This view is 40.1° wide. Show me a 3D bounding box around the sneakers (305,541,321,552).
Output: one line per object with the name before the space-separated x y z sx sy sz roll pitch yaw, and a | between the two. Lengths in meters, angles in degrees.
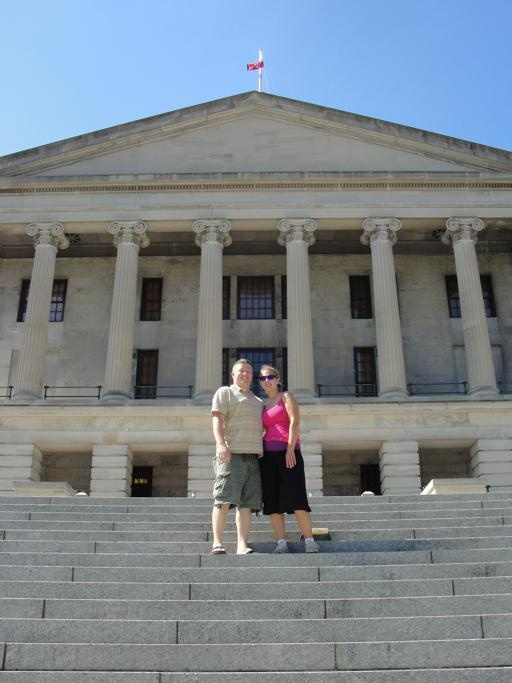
sneakers | 0.601 2.229 7.640 0.127 0.140 0.134 -2 -26 6

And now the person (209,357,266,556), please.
person | -0.216 1.277 8.032 0.746 2.312 0.561 12 -30 -20

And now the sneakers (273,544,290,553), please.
sneakers | 0.281 2.262 7.688 0.109 0.099 0.167 4 -5 -7

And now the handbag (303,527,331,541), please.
handbag | 0.836 2.469 9.010 0.291 0.168 0.192 1 -8 -4
